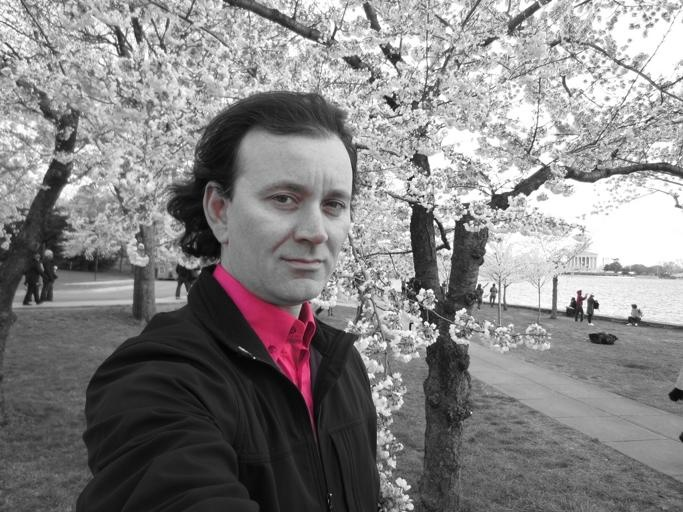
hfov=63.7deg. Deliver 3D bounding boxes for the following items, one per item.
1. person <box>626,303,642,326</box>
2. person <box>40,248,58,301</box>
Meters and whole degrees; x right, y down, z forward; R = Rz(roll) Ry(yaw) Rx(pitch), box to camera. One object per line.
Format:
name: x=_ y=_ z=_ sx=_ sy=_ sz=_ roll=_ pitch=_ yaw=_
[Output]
person: x=15.307 y=3.152 z=28.852 sx=0.773 sy=1.332 sz=0.866 roll=3 pitch=3 yaw=13
person: x=-10.150 y=0.782 z=18.903 sx=0.417 sy=1.551 sz=0.452 roll=-2 pitch=-4 yaw=18
